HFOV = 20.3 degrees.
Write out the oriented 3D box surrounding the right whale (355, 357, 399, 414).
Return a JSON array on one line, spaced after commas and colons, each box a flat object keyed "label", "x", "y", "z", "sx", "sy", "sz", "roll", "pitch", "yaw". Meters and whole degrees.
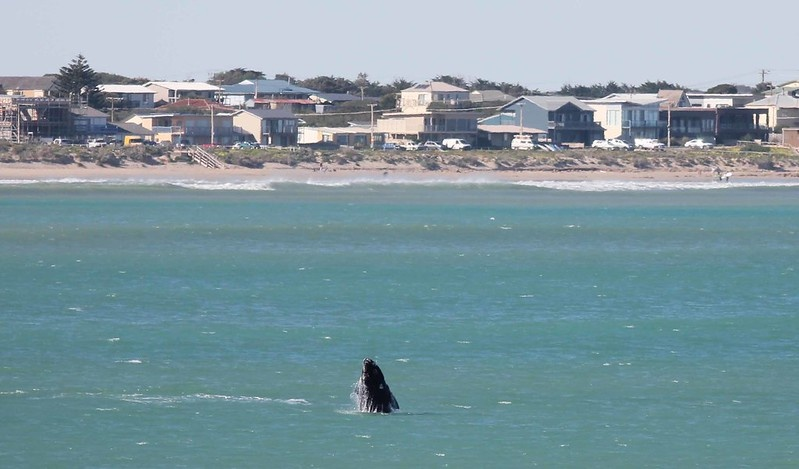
[{"label": "right whale", "x": -1.974, "y": 12.914, "z": 190.284, "sx": 4.215, "sy": 4.390, "sz": 1.380, "roll": -11, "pitch": -4, "yaw": -19}]
